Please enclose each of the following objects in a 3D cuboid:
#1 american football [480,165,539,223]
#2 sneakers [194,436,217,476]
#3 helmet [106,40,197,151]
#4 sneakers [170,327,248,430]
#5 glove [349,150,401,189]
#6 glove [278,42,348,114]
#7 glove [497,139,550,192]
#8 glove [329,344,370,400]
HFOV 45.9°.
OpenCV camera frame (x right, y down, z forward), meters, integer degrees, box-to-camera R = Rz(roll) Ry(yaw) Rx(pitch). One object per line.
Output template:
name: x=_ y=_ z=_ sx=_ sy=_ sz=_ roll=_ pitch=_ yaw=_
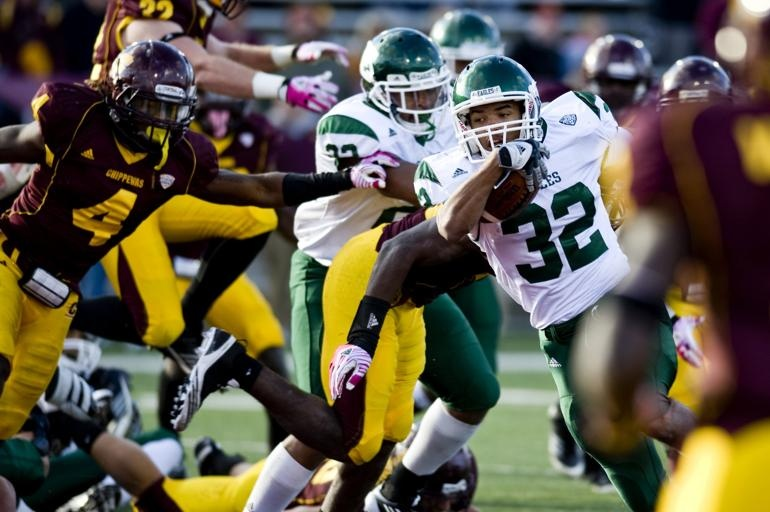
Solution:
american football: x=0.461 y=-0.222 z=3.401 sx=0.153 sy=0.195 sz=0.089 roll=52 pitch=4 yaw=21
sneakers: x=-0.955 y=1.053 z=4.806 sx=0.107 sy=0.194 sz=0.109 roll=0 pitch=-20 yaw=-26
helmet: x=-0.985 y=-0.697 z=3.873 sx=0.350 sy=0.418 sz=0.445 roll=5 pitch=20 yaw=-36
sneakers: x=-0.774 y=0.583 z=3.757 sx=0.177 sy=0.236 sz=0.537 roll=-11 pitch=-19 yaw=27
glove: x=-0.046 y=-0.379 z=3.930 sx=0.157 sy=0.161 sz=0.183 roll=7 pitch=0 yaw=37
glove: x=-0.465 y=-0.967 z=4.739 sx=0.472 sy=0.163 sz=0.373 roll=27 pitch=24 yaw=22
glove: x=0.501 y=-0.358 z=3.361 sx=0.197 sy=0.099 sz=0.151 roll=-19 pitch=-50 yaw=44
glove: x=-0.153 y=0.446 z=3.601 sx=0.154 sy=0.215 sz=0.100 roll=30 pitch=-9 yaw=1
